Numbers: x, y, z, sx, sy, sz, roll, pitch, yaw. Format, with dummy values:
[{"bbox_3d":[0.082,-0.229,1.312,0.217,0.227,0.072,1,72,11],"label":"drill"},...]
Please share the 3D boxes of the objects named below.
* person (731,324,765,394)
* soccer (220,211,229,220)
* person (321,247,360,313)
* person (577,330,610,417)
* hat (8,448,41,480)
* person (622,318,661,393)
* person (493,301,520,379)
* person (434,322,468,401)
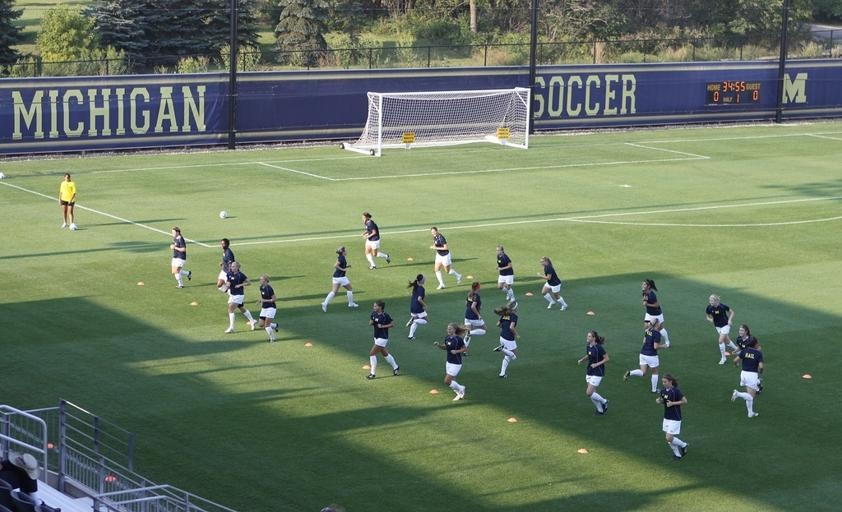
[{"bbox_3d":[11.784,3.705,50.133,1.060,2.530,1.118,-5,-3,8],"label":"person"},{"bbox_3d":[-9.213,-1.940,65.565,0.393,0.222,0.358,3,2,4],"label":"soccer"},{"bbox_3d":[-3.300,0.858,56.192,1.642,2.415,1.029,-2,4,-26],"label":"person"},{"bbox_3d":[6.147,4.180,49.732,1.268,2.714,1.308,2,-1,7],"label":"person"},{"bbox_3d":[-11.783,6.352,42.169,0.885,0.263,0.750,38,16,-11],"label":"hat"},{"bbox_3d":[7.976,3.750,51.151,1.214,2.493,1.317,3,-1,21],"label":"person"},{"bbox_3d":[2.983,3.106,51.424,1.151,2.774,1.441,4,-3,39],"label":"person"},{"bbox_3d":[1.143,3.799,50.381,0.840,2.744,1.281,-1,9,0],"label":"person"}]
